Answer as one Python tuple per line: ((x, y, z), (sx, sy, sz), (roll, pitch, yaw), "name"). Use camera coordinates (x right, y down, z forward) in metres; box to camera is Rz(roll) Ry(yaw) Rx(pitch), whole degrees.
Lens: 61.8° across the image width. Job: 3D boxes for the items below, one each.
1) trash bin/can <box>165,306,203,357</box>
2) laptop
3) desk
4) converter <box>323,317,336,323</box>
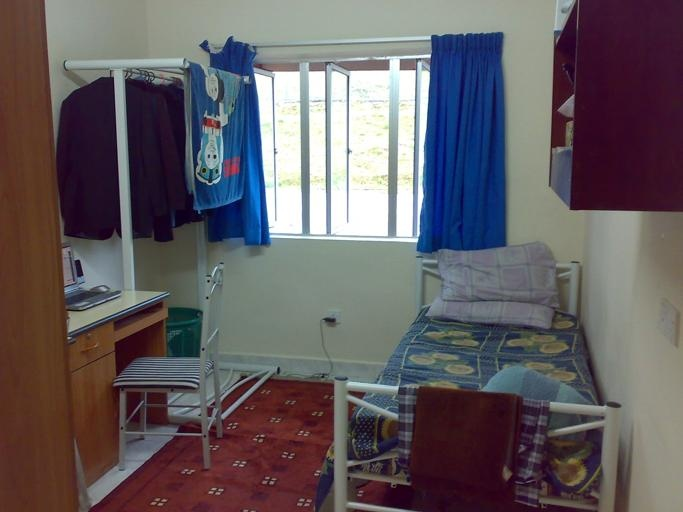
((-1.126, 0.517, 3.940), (0.304, 0.274, 0.344), (2, 6, 21), "trash bin/can")
((-1.353, 0.102, 3.058), (0.219, 0.214, 0.271), (11, 12, -2), "laptop")
((-1.015, 0.582, 2.586), (0.309, 0.717, 0.805), (1, 14, 6), "desk")
((-0.087, 0.451, 4.050), (0.073, 0.033, 0.016), (11, 32, 3), "converter")
